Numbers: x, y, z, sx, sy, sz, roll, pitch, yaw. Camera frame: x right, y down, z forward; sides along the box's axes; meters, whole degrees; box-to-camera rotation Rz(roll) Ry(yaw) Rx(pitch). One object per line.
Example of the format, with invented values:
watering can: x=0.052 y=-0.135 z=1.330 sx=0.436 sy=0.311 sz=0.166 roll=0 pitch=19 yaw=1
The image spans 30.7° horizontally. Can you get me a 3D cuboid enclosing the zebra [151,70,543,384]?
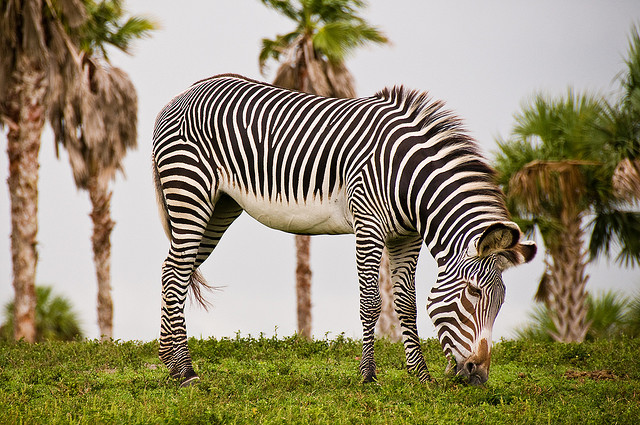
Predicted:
zebra: x=0.279 y=0.593 z=23.833 sx=7.881 sy=6.549 sz=2.297 roll=5 pitch=5 yaw=14
